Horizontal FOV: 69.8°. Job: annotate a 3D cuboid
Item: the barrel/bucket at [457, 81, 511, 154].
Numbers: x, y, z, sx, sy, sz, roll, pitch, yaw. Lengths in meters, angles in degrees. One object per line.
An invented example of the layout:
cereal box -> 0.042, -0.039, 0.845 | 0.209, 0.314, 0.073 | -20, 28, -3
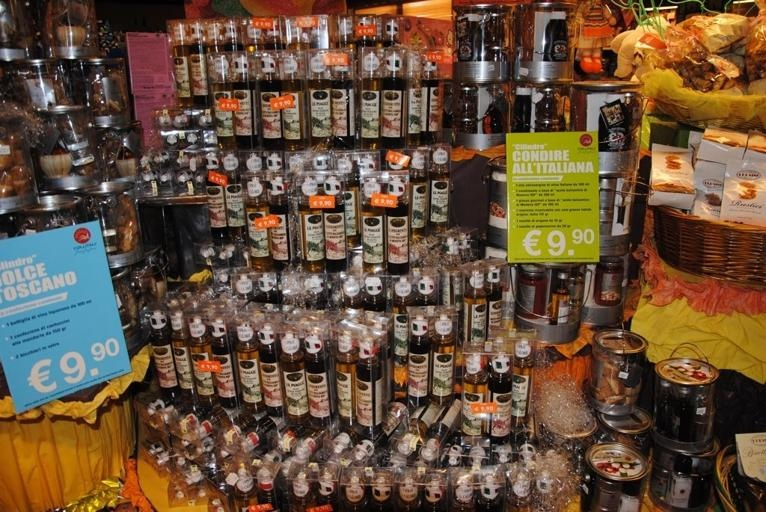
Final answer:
barrel/bucket -> 0.531, -0.866, 3.464 | 0.329, 0.340, 0.336 | -3, 8, 0

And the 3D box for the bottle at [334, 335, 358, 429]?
bottle -> -0.174, 0.599, 2.675 | 0.108, 0.483, 0.110 | -4, 19, 1

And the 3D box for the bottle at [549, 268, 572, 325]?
bottle -> 0.950, 0.222, 2.946 | 0.120, 0.299, 0.068 | -1, 19, 10

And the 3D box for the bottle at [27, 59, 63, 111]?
bottle -> -1.826, -0.880, 3.003 | 0.206, 0.307, 0.195 | -10, -9, -2

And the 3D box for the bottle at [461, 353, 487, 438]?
bottle -> 0.449, 0.678, 2.705 | 0.125, 0.420, 0.112 | 0, 19, 12

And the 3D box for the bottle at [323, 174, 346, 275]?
bottle -> -0.257, -0.165, 2.857 | 0.139, 0.509, 0.079 | -8, 19, -11

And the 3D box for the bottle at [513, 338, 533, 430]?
bottle -> 0.693, 0.651, 2.796 | 0.125, 0.494, 0.120 | 1, 12, 0

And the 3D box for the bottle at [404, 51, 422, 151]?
bottle -> 0.166, -0.858, 3.020 | 0.076, 0.495, 0.104 | 4, 21, 23

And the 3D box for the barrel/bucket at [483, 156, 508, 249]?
barrel/bucket -> 0.624, -0.288, 3.054 | 0.110, 0.473, 0.225 | -1, 19, 10

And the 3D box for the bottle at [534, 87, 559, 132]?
bottle -> 0.958, -0.857, 3.218 | 0.156, 0.241, 0.080 | -4, 19, 2

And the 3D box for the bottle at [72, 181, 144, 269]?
bottle -> -1.428, -0.159, 2.954 | 0.262, 0.457, 0.201 | -17, 22, -33

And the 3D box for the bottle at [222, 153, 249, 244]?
bottle -> -0.856, -0.328, 3.148 | 0.140, 0.528, 0.085 | -7, 19, -9

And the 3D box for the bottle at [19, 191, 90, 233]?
bottle -> -1.675, -0.213, 2.815 | 0.230, 0.224, 0.220 | 1, 20, -12

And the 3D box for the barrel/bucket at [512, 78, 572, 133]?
barrel/bucket -> 0.938, -0.849, 3.416 | 0.275, 0.422, 0.417 | -1, 1, 13

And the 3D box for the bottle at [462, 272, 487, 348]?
bottle -> 0.490, 0.257, 2.897 | 0.155, 0.375, 0.119 | -12, 20, -22

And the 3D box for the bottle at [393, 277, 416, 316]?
bottle -> 0.095, 0.207, 2.830 | 0.115, 0.181, 0.135 | 0, 19, 13

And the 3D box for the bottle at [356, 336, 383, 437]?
bottle -> -0.073, 0.628, 2.651 | 0.107, 0.502, 0.128 | 8, 23, 33

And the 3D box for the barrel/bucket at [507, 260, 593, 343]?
barrel/bucket -> 0.926, 0.228, 3.145 | 0.420, 0.433, 0.407 | 0, 9, 0

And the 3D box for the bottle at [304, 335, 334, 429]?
bottle -> -0.323, 0.595, 2.679 | 0.126, 0.493, 0.102 | -7, 19, -8

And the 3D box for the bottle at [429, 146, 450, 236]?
bottle -> 0.333, -0.379, 3.101 | 0.087, 0.487, 0.183 | 7, 22, 31

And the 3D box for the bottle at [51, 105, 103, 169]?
bottle -> -1.614, -0.612, 2.878 | 0.171, 0.302, 0.116 | -14, 21, -26

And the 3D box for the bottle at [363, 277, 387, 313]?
bottle -> -0.053, 0.198, 2.854 | 0.111, 0.187, 0.076 | -1, 19, 9

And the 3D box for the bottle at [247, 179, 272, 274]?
bottle -> -0.677, -0.173, 2.970 | 0.131, 0.518, 0.109 | -8, 19, -11

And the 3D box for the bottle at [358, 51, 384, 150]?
bottle -> -0.069, -0.850, 2.989 | 0.137, 0.520, 0.117 | -1, 19, 9

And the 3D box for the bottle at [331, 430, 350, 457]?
bottle -> -0.201, 0.892, 2.630 | 0.084, 0.075, 0.108 | 15, 32, 31

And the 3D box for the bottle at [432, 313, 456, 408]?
bottle -> 0.297, 0.510, 2.748 | 0.112, 0.462, 0.117 | -4, 19, 1

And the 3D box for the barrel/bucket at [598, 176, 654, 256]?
barrel/bucket -> 1.331, -0.223, 2.997 | 0.181, 0.466, 0.450 | 10, 23, 37

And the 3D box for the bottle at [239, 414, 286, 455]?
bottle -> -0.590, 0.882, 2.702 | 0.069, 0.071, 0.257 | 25, 27, 22

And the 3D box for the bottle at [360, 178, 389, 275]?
bottle -> -0.052, -0.161, 2.867 | 0.120, 0.504, 0.120 | -4, 19, 1

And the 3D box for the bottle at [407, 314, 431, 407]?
bottle -> 0.178, 0.524, 2.754 | 0.128, 0.477, 0.094 | -3, 19, 5

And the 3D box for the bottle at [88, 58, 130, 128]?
bottle -> -1.727, -1.010, 3.399 | 0.280, 0.372, 0.244 | -14, 24, -36

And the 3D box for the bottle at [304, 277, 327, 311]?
bottle -> -0.370, 0.185, 2.933 | 0.139, 0.205, 0.135 | -5, 4, 0

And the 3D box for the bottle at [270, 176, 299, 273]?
bottle -> -0.551, -0.178, 2.957 | 0.156, 0.519, 0.113 | -7, 19, -9

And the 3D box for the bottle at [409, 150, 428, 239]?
bottle -> 0.201, -0.332, 3.014 | 0.149, 0.502, 0.056 | -18, 23, -36

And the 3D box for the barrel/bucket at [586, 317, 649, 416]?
barrel/bucket -> 1.268, 0.632, 2.983 | 0.278, 0.384, 0.275 | -3, 18, 1

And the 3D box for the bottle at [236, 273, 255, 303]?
bottle -> -0.752, 0.168, 2.982 | 0.087, 0.147, 0.086 | -4, 19, 1

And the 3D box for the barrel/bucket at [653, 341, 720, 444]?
barrel/bucket -> 1.566, 0.720, 2.855 | 0.316, 0.498, 0.301 | -3, 12, 1

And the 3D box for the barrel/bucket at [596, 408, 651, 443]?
barrel/bucket -> 1.246, 0.883, 2.886 | 0.202, 0.203, 0.193 | -1, 8, 0

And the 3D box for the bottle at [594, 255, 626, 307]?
bottle -> 1.235, 0.139, 3.019 | 0.158, 0.275, 0.051 | -3, 19, 3
